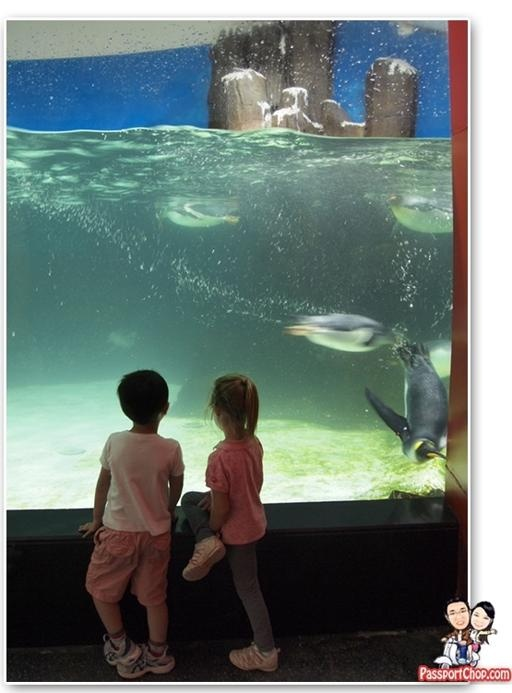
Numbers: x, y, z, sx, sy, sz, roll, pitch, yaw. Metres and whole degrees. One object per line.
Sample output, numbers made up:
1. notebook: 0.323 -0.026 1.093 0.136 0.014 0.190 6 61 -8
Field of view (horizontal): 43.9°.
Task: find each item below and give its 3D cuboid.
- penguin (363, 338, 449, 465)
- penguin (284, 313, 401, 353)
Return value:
1. penguin: 2.449 1.044 9.577 0.808 1.393 4.386 0 12 18
2. penguin: 1.696 -0.372 13.206 1.568 0.565 1.139 15 -4 30
